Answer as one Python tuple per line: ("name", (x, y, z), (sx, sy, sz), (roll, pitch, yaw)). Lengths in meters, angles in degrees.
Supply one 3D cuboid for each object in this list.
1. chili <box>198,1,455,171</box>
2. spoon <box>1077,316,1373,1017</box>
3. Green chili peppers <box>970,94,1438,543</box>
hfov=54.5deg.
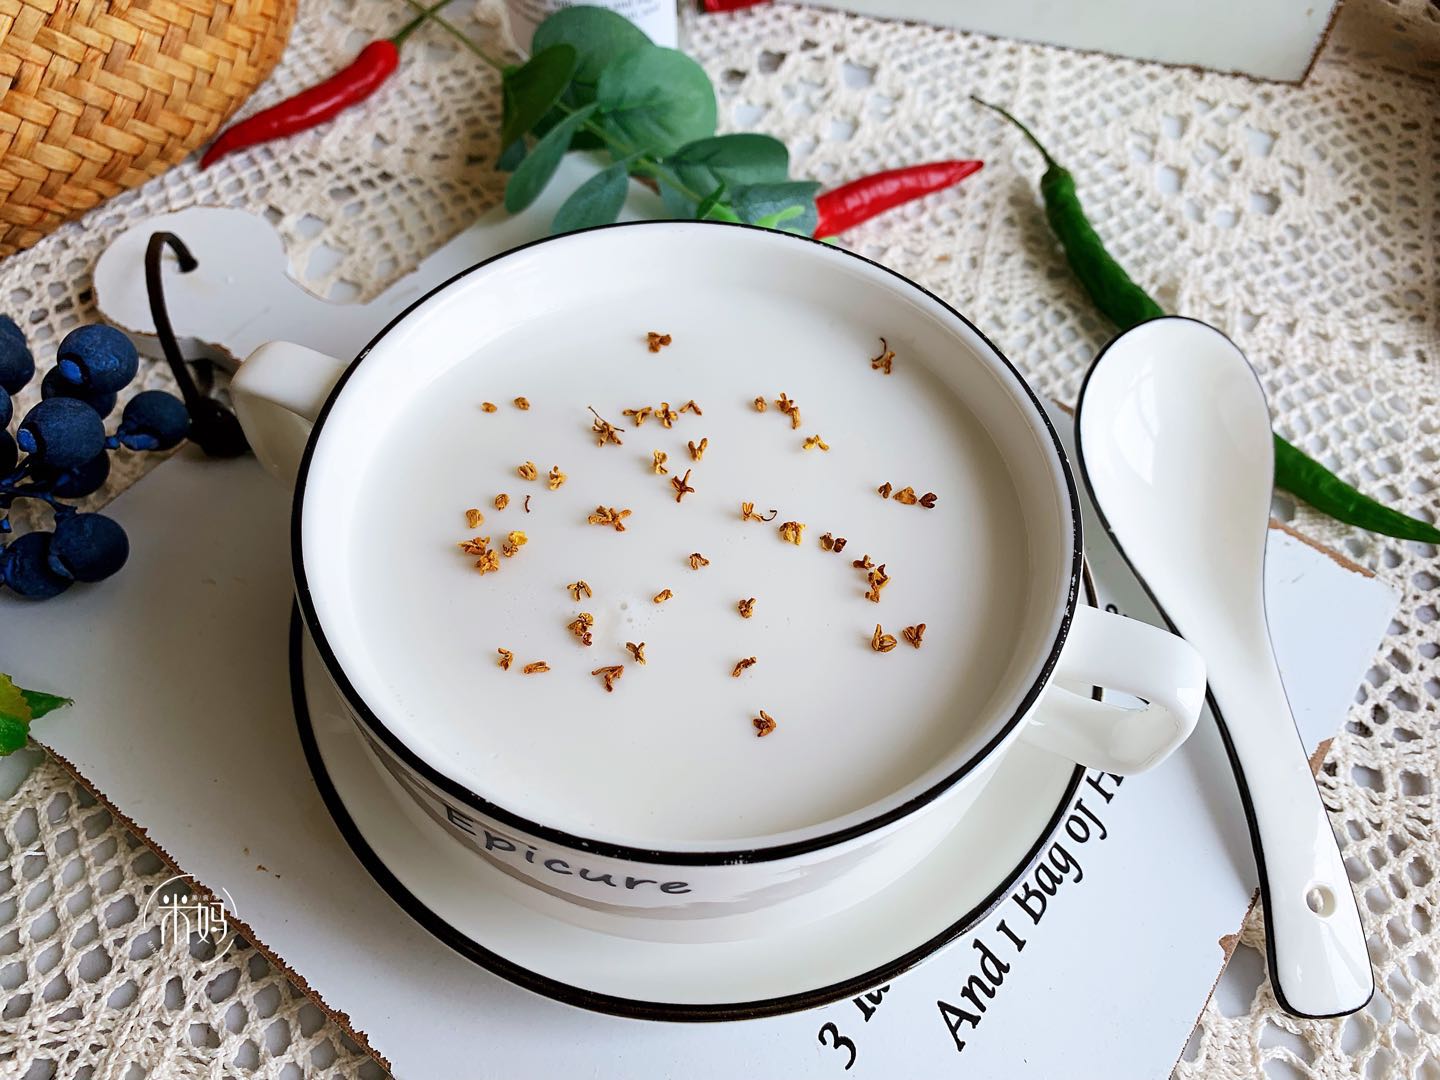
("chili", (-0.359, -0.409, 1.272), (0.034, 0.026, 0.214), (34, 65, 5))
("spoon", (0.365, 0.069, 1.041), (0.130, 0.078, 0.562), (-1, 64, 2))
("Green chili peppers", (0.406, -0.174, 1.167), (0.053, 0.057, 0.464), (-34, 64, -10))
